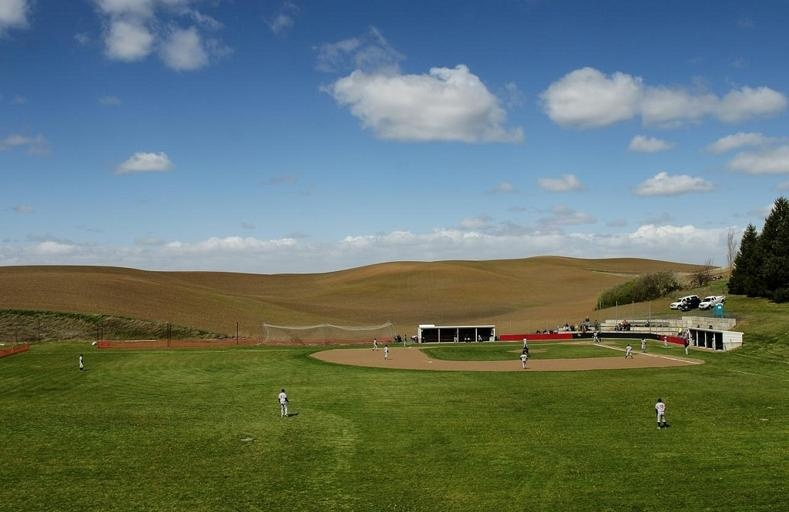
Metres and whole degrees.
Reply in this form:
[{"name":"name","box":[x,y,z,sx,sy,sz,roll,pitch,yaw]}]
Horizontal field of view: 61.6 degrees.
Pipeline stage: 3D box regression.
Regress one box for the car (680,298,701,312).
[{"name":"car","box":[64.663,10.414,145.022,3.833,2.695,2.128,1,14,4]}]
